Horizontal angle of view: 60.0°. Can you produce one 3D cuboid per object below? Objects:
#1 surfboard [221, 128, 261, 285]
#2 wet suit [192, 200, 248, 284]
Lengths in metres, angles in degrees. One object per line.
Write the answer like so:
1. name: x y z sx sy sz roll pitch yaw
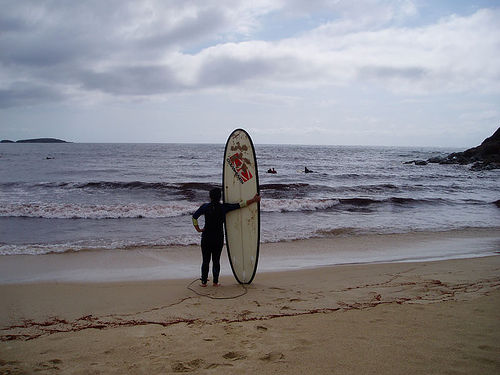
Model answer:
1. surfboard: -0.158 0.343 7.997 0.706 2.896 0.316 -3 -2 8
2. wet suit: -0.606 1.028 7.862 0.864 1.567 0.374 -2 9 -15
